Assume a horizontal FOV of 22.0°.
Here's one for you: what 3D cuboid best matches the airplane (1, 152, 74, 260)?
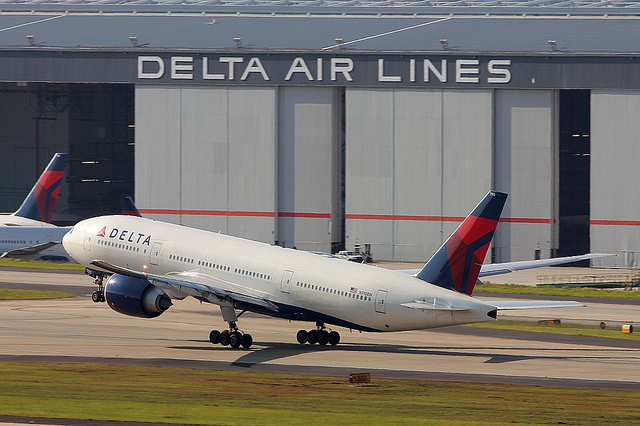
[{"bbox_3d":[-32.601,-0.937,187.479,7.150,9.543,5.670,3,1,-4],"label":"airplane"}]
